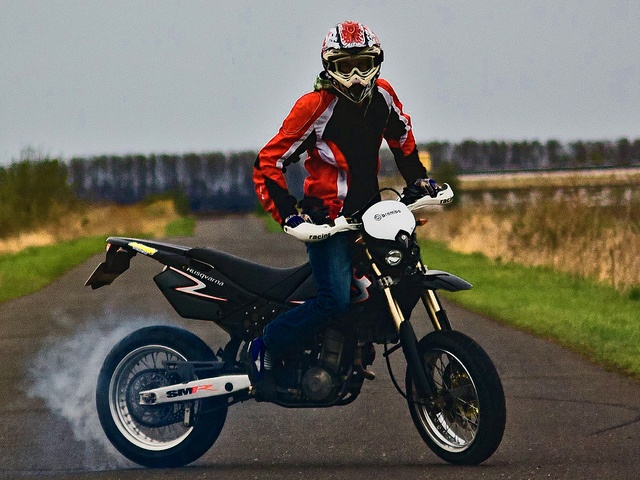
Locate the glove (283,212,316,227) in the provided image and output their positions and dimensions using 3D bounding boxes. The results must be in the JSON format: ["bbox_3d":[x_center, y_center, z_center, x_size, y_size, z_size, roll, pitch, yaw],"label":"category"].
[{"bbox_3d":[-0.207,-0.215,9.180,0.217,0.098,0.149,-6,39,-9],"label":"glove"}]

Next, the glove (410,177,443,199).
[{"bbox_3d":[1.123,-0.547,9.627,0.272,0.198,0.125,4,-15,13],"label":"glove"}]
